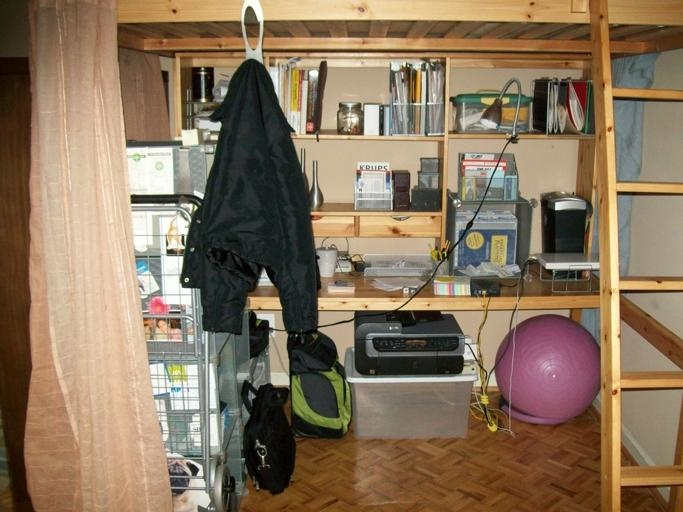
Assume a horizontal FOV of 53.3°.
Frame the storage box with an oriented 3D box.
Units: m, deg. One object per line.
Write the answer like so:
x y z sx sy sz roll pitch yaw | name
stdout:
0.421 0.819 4.203 0.674 0.354 0.458 0 17 -1 | storage box

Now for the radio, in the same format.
0.397 0.513 4.069 0.644 0.341 0.285 -1 10 0 | radio

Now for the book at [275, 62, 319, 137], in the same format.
-0.264 -0.916 4.002 0.253 0.408 0.058 -2 9 -6 | book

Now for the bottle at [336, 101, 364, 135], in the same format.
0.049 -0.812 4.049 0.175 0.191 0.179 1 10 9 | bottle

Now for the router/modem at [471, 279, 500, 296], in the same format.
0.816 0.177 3.860 0.171 0.073 0.168 1 10 12 | router/modem

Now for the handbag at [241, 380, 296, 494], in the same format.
-0.404 0.983 3.795 0.285 0.596 0.280 -2 10 -5 | handbag

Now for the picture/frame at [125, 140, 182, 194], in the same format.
-0.931 -0.443 3.365 0.271 0.256 0.067 1 12 1 | picture/frame

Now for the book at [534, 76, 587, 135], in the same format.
1.308 -0.884 4.201 0.304 0.406 0.402 -3 13 6 | book

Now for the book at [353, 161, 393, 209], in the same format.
0.152 -0.457 4.202 0.309 0.322 0.244 -1 9 -1 | book

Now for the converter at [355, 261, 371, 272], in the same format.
0.126 0.063 4.228 0.072 0.054 0.067 -4 5 -36 | converter

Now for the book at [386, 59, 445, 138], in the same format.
0.389 -0.950 4.142 0.391 0.556 0.436 -2 21 0 | book

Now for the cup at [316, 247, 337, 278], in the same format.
-0.084 0.037 4.043 0.148 0.174 0.156 0 1 0 | cup
